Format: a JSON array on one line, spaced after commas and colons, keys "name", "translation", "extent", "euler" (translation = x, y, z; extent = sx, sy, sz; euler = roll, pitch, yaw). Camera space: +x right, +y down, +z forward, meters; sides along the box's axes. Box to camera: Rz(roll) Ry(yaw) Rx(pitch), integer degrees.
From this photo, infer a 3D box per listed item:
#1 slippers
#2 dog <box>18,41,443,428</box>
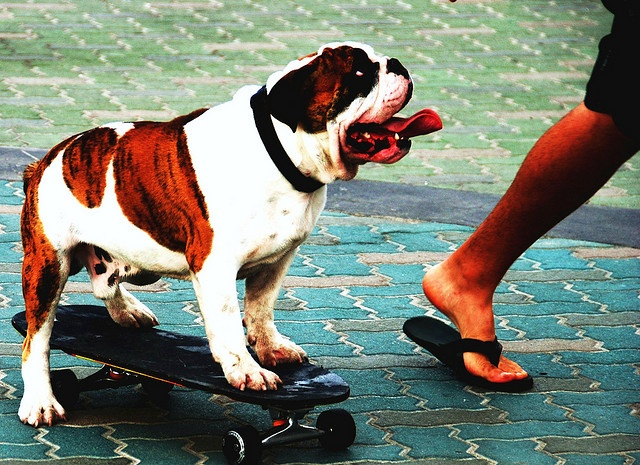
[{"name": "slippers", "translation": [0.688, 0.582, 3.858], "extent": [0.753, 0.127, 0.265], "euler": [15, 24, 33]}, {"name": "dog", "translation": [-0.482, 0.014, 3.178], "extent": [1.429, 1.788, 1.076], "euler": [9, 42, -17]}]
